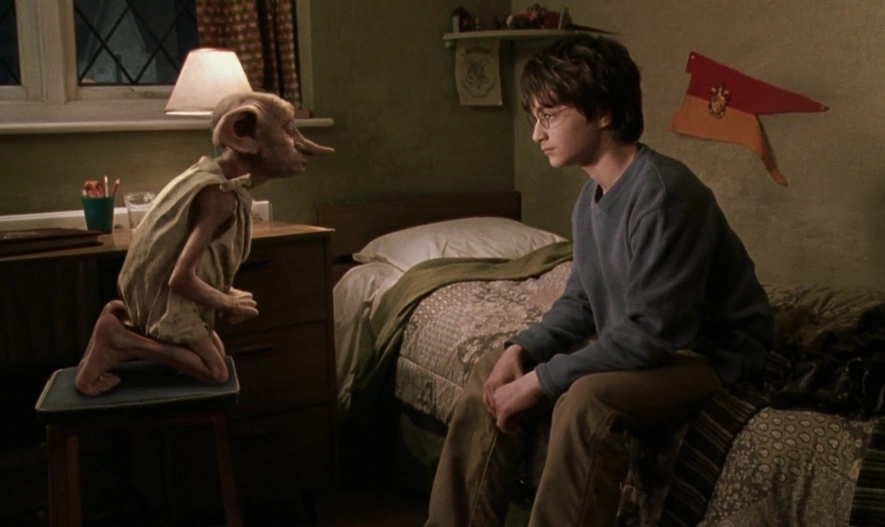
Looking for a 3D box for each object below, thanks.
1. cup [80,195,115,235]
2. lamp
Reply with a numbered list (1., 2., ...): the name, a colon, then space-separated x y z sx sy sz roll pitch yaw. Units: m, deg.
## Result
1. cup: -1.470 -0.213 3.216 0.166 0.176 0.178 1 5 0
2. lamp: -1.073 -0.803 3.460 0.458 0.300 0.504 0 -1 -8
